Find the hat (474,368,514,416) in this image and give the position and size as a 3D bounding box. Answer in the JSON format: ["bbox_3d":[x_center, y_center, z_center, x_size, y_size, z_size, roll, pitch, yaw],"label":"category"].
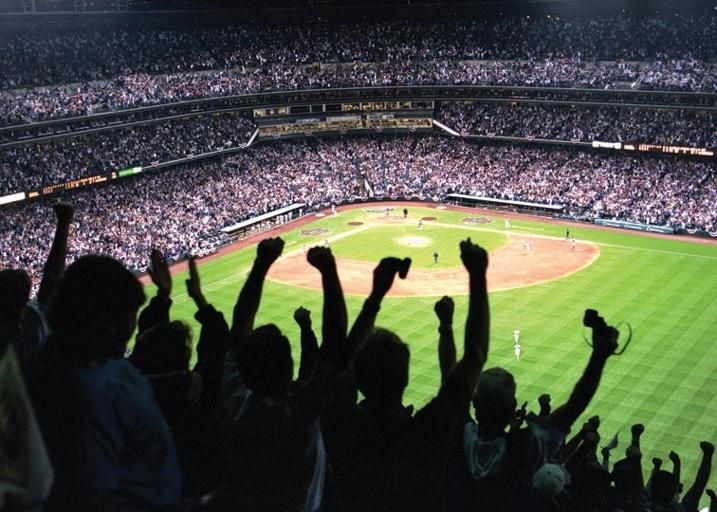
[{"bbox_3d":[1.799,1.739,8.306,0.572,0.539,0.421,4,-21,-12],"label":"hat"}]
